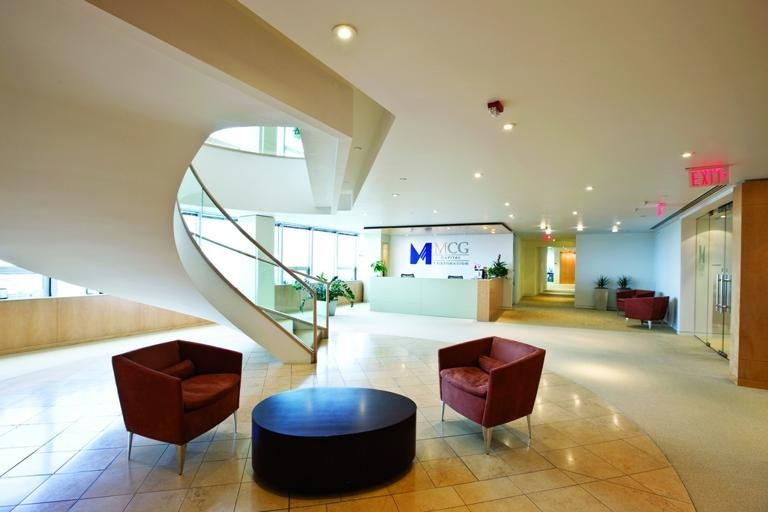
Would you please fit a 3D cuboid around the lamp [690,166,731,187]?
[{"bbox_3d":[5.135,-1.251,7.517,0.549,0.310,0.380,2,-7,40],"label":"lamp"}]

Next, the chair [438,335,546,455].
[{"bbox_3d":[1.372,1.720,6.309,1.036,1.148,1.078,1,4,-31],"label":"chair"}]

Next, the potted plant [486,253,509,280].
[{"bbox_3d":[3.773,0.382,15.920,0.664,0.799,0.846,6,12,25],"label":"potted plant"}]

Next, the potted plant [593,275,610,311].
[{"bbox_3d":[7.547,1.285,16.617,0.482,1.012,0.841,6,12,24],"label":"potted plant"}]

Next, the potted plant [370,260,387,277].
[{"bbox_3d":[-0.177,0.449,17.213,0.543,0.545,0.546,-5,1,0],"label":"potted plant"}]

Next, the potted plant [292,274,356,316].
[{"bbox_3d":[-1.474,1.269,13.669,1.472,0.928,1.525,0,-5,-43],"label":"potted plant"}]

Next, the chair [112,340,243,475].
[{"bbox_3d":[-2.495,1.717,5.926,1.109,1.117,1.179,3,7,17],"label":"chair"}]

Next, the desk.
[{"bbox_3d":[-0.625,2.019,5.557,1.231,0.449,1.095,0,-1,-13],"label":"desk"}]

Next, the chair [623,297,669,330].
[{"bbox_3d":[6.940,1.475,12.613,0.838,0.885,0.885,6,-6,-27],"label":"chair"}]
